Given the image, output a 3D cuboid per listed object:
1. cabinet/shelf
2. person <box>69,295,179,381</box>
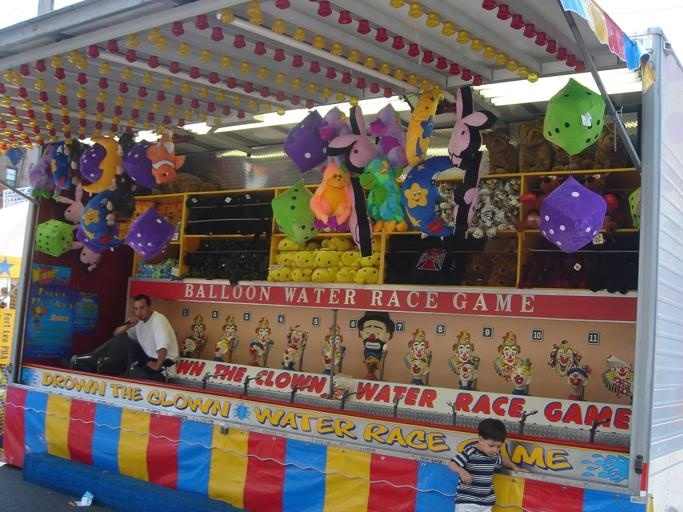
[{"bbox_3d":[0.534,-0.328,6.006,5.194,1.169,0.649,1,17,8],"label":"cabinet/shelf"},{"bbox_3d":[-2.584,1.063,6.655,1.271,0.992,0.922,-2,4,-43],"label":"person"}]
